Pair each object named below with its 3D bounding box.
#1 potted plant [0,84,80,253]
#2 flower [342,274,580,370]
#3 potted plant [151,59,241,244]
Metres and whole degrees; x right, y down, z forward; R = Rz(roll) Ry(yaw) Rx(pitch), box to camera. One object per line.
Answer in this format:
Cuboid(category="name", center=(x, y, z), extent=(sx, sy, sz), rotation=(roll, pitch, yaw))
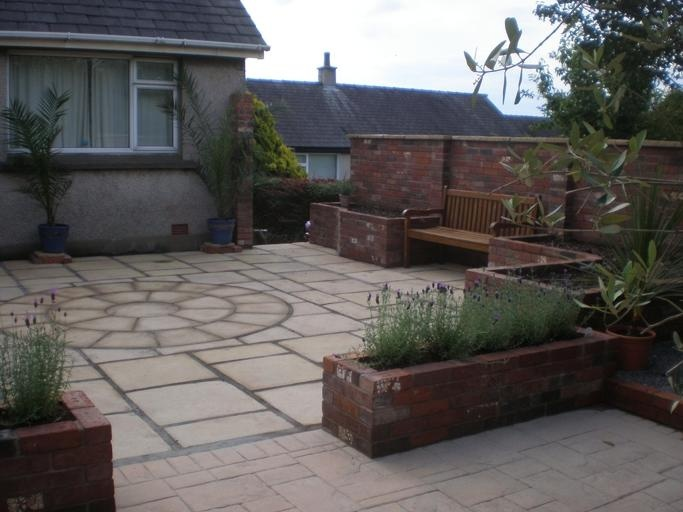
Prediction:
Cuboid(category="potted plant", center=(-5.426, -1.523, 10.247), extent=(1.073, 2.954, 1.143), rotation=(-4, 13, -23))
Cuboid(category="flower", center=(1.019, 0.512, 4.735), extent=(1.621, 0.532, 0.857), rotation=(-8, 16, -21))
Cuboid(category="potted plant", center=(-2.670, -2.276, 11.399), extent=(1.404, 2.973, 0.841), rotation=(7, 13, 25))
